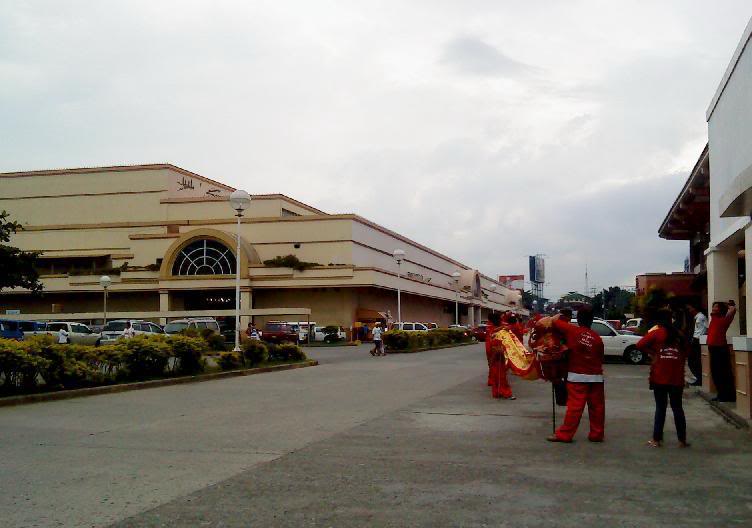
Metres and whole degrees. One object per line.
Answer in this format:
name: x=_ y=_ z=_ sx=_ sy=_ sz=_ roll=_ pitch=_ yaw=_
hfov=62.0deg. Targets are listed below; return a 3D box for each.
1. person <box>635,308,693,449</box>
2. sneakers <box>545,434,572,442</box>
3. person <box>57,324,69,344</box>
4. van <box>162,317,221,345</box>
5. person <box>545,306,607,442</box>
person: x=5.211 y=2.020 z=11.276 sx=0.717 sy=2.373 sz=1.040 roll=-5 pitch=-8 yaw=26
sneakers: x=3.263 y=3.047 z=11.173 sx=0.434 sy=0.182 sz=0.162 roll=2 pitch=-5 yaw=25
person: x=-18.358 y=4.010 z=36.838 sx=0.589 sy=0.945 sz=0.987 roll=3 pitch=-9 yaw=-34
van: x=-9.630 y=3.481 z=33.009 sx=1.746 sy=1.684 sz=2.869 roll=-4 pitch=-14 yaw=17
person: x=3.718 y=1.995 z=11.468 sx=0.890 sy=2.386 sz=0.873 roll=-4 pitch=-7 yaw=19
